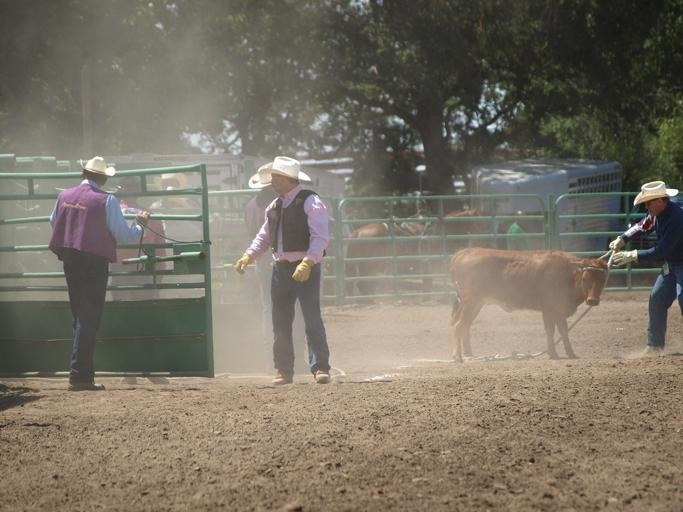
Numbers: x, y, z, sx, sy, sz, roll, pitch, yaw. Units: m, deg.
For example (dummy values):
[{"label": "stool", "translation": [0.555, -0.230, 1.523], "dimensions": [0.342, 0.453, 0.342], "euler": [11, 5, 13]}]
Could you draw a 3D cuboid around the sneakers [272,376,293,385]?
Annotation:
[{"label": "sneakers", "translation": [-0.732, 1.554, 10.240], "dimensions": [0.124, 0.068, 0.164], "euler": [4, -8, -40]}]

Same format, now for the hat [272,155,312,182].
[{"label": "hat", "translation": [-0.615, -1.143, 10.163], "dimensions": [0.363, 0.148, 0.335], "euler": [25, 6, 3]}]

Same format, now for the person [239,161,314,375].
[{"label": "person", "translation": [-0.628, 0.220, 10.303], "dimensions": [1.117, 2.883, 0.822], "euler": [3, 10, 30]}]

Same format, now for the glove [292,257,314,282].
[{"label": "glove", "translation": [-0.456, 0.184, 9.974], "dimensions": [0.261, 0.334, 0.382], "euler": [-3, 9, -4]}]

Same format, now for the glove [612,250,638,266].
[{"label": "glove", "translation": [3.815, 0.068, 11.067], "dimensions": [0.297, 0.140, 0.213], "euler": [-11, 38, 11]}]

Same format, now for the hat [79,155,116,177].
[{"label": "hat", "translation": [-2.981, -1.091, 10.253], "dimensions": [0.452, 0.193, 0.528], "euler": [19, -4, -12]}]

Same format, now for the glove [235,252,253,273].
[{"label": "glove", "translation": [-1.309, 0.105, 11.177], "dimensions": [0.287, 0.174, 0.139], "euler": [-46, 0, -21]}]

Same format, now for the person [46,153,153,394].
[{"label": "person", "translation": [-2.976, 0.200, 9.940], "dimensions": [0.950, 2.736, 0.689], "euler": [-6, 9, -23]}]

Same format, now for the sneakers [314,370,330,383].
[{"label": "sneakers", "translation": [-0.228, 1.496, 10.147], "dimensions": [0.204, 0.132, 0.170], "euler": [-2, 9, -2]}]

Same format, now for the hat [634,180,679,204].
[{"label": "hat", "translation": [4.188, -0.843, 10.935], "dimensions": [0.503, 0.316, 0.858], "euler": [2, 10, 22]}]
